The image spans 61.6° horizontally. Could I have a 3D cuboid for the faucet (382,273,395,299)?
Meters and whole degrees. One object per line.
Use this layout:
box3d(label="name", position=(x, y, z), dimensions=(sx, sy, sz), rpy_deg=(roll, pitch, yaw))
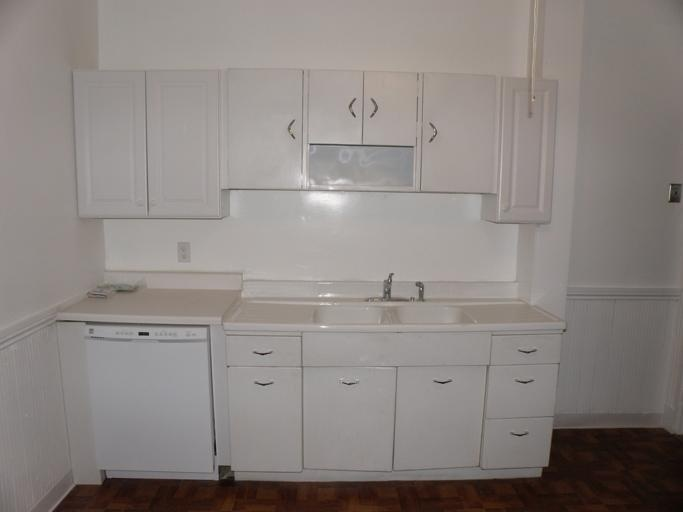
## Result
box3d(label="faucet", position=(0.329, 0.209, 4.006), dimensions=(0.074, 0.185, 0.143), rpy_deg=(3, 6, 4))

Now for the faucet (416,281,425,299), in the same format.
box3d(label="faucet", position=(0.552, 0.240, 3.990), dimensions=(0.070, 0.127, 0.099), rpy_deg=(3, 6, 9))

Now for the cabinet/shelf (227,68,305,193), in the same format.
box3d(label="cabinet/shelf", position=(-0.571, -0.967, 3.851), dimensions=(0.600, 0.775, 0.513), rpy_deg=(-7, 49, -18))

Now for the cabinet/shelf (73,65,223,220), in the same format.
box3d(label="cabinet/shelf", position=(-1.252, -0.750, 3.706), dimensions=(1.013, 0.947, 0.355), rpy_deg=(0, 2, -1))
